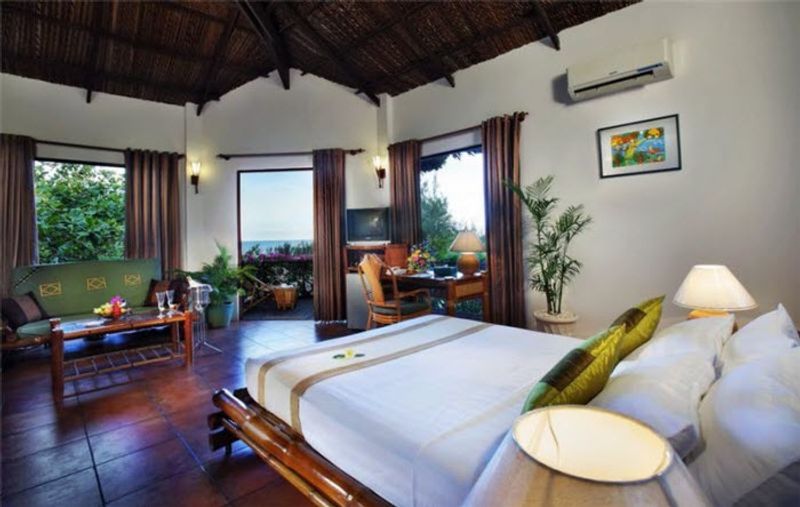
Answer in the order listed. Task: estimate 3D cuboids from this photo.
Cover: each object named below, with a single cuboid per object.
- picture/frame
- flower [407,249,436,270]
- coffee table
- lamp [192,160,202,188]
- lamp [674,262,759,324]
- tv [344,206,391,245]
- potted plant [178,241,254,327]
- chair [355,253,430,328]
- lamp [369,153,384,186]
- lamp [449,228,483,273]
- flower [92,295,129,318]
[{"bbox_3d":[2.825,-1.275,5.436,0.813,0.594,0.030,-1,4,45],"label":"picture/frame"},{"bbox_3d":[0.307,0.117,6.794,0.313,0.285,0.315,-13,-7,20],"label":"flower"},{"bbox_3d":[-3.317,1.045,5.547,1.426,0.650,0.838,-8,6,-38],"label":"coffee table"},{"bbox_3d":[-3.466,-1.326,7.915,0.199,0.522,0.100,-6,5,-23],"label":"lamp"},{"bbox_3d":[2.840,0.333,4.231,0.576,0.520,0.594,2,-7,-39],"label":"lamp"},{"bbox_3d":[-0.434,-0.476,7.535,0.821,0.591,0.432,1,6,26],"label":"tv"},{"bbox_3d":[-2.936,0.513,7.579,1.143,1.409,0.953,-4,-6,38],"label":"potted plant"},{"bbox_3d":[-0.061,0.590,6.244,0.978,1.264,0.972,-3,4,3],"label":"chair"},{"bbox_3d":[-0.336,-1.364,7.623,0.234,0.518,0.103,-2,5,21],"label":"lamp"},{"bbox_3d":[0.898,-0.013,6.292,0.495,0.614,0.515,-5,1,13],"label":"lamp"},{"bbox_3d":[-3.515,0.645,5.602,0.391,0.224,0.396,2,2,10],"label":"flower"}]
